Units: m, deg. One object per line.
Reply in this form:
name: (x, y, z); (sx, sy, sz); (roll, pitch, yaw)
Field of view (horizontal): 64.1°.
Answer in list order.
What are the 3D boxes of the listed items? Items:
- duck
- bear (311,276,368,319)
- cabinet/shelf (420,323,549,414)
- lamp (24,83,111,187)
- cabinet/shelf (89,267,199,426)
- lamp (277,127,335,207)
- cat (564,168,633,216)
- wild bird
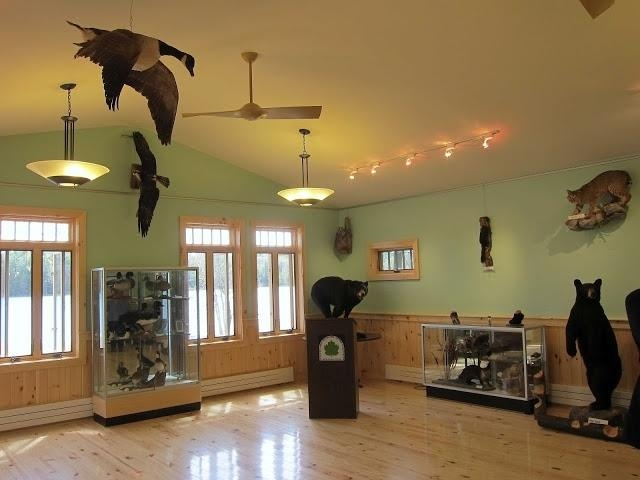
duck: (-2.334, 1.154, 6.640); (0.764, 1.544, 0.203); (-2, 0, -21)
bear: (0.343, 0.858, 7.635); (0.937, 0.635, 0.451); (-11, -14, 38)
cabinet/shelf: (2.183, 1.708, 6.973); (1.532, 1.055, 0.534); (-5, -6, 45)
lamp: (-2.670, -1.327, 5.645); (0.946, 1.459, 0.881); (4, -2, -23)
cabinet/shelf: (-2.343, 1.419, 6.649); (1.833, 2.678, 0.716); (3, -8, -34)
lamp: (-0.162, -0.984, 6.806); (0.713, 1.070, 0.857); (1, -6, -19)
cat: (3.446, -0.597, 6.520); (0.281, 0.523, 0.964); (-14, -1, -39)
wild bird: (-2.303, -0.778, 6.988); (0.456, 1.489, 0.860); (-2, 0, -20)
